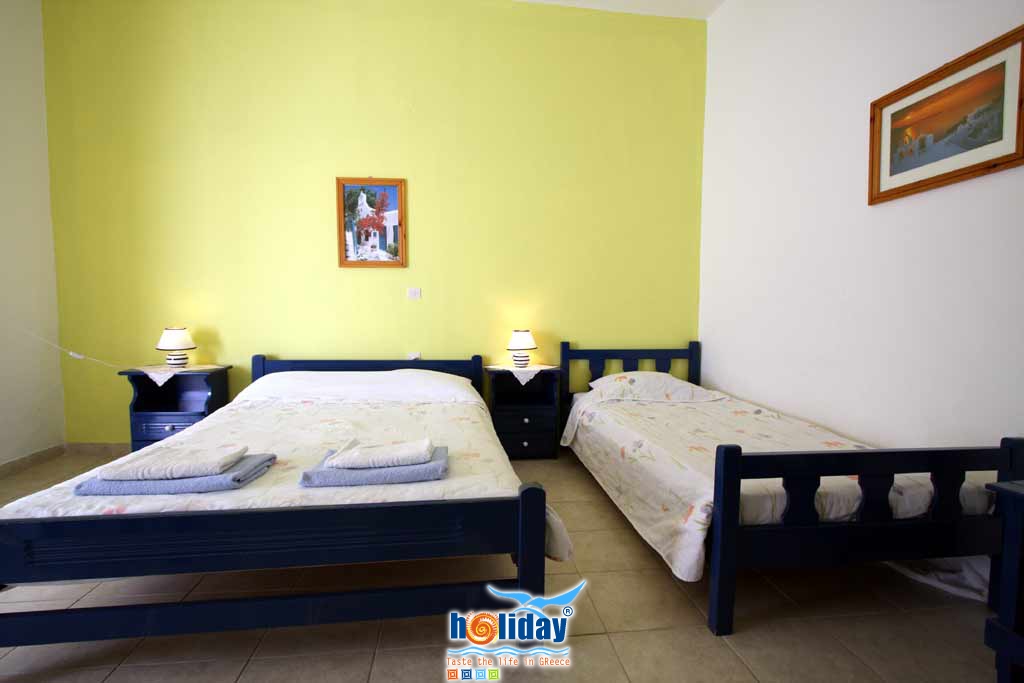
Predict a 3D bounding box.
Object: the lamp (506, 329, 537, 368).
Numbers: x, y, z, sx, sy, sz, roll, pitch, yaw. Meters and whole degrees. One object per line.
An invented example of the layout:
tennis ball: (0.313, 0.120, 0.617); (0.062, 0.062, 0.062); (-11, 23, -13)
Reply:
lamp: (0.067, 0.036, 5.642); (0.304, 0.325, 0.296); (-3, 10, -9)

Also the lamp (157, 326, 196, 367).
lamp: (-2.695, 0.009, 5.417); (0.317, 0.332, 0.312); (-9, 14, -38)

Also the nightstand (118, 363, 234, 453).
nightstand: (-2.579, 0.623, 5.365); (0.763, 0.840, 0.524); (-1, 5, 8)

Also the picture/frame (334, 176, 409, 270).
picture/frame: (-1.212, -1.026, 5.617); (0.802, 0.924, 0.069); (-1, 3, -12)

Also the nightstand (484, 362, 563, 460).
nightstand: (0.163, 0.619, 5.701); (0.636, 0.755, 0.397); (-3, -1, 13)

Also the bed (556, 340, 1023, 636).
bed: (1.487, 0.990, 4.333); (1.583, 1.161, 2.549); (-5, 7, -36)
